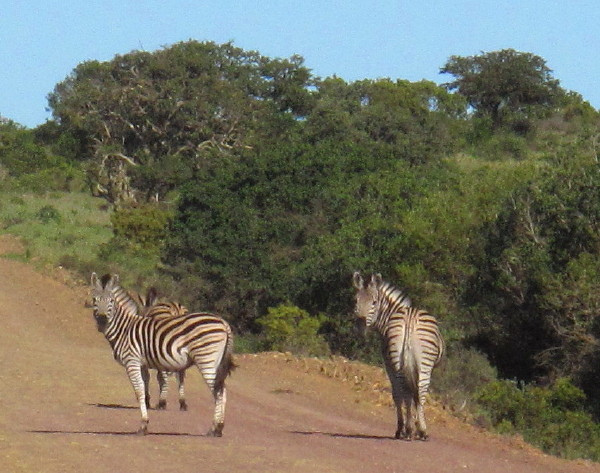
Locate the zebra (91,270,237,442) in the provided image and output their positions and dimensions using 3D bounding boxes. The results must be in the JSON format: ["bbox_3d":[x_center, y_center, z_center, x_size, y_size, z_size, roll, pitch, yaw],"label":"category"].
[{"bbox_3d":[-4.292,3.654,36.879,4.259,5.086,1.439,1,6,2],"label":"zebra"}]

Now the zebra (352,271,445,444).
[{"bbox_3d":[3.160,3.981,39.184,1.711,5.156,6.225,-3,4,-7],"label":"zebra"}]
